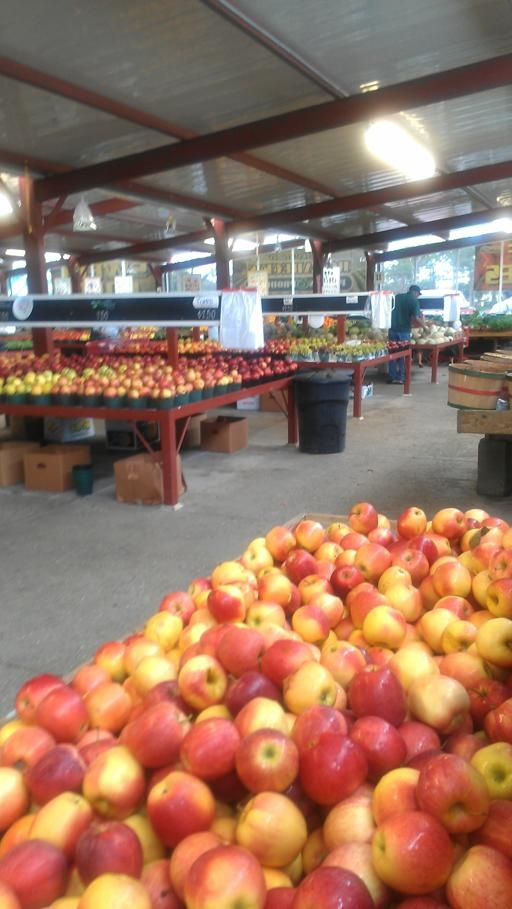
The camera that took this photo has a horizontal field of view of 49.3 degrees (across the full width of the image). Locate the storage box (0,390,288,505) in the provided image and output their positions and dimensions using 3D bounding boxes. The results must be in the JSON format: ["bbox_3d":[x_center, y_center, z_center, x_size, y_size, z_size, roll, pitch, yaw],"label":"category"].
[{"bbox_3d":[-0.700,-0.241,5.754,3.300,0.848,1.966,-10,15,-33],"label":"storage box"}]

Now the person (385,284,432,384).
[{"bbox_3d":[3.308,-2.712,12.458,0.913,2.167,0.994,9,18,12],"label":"person"}]

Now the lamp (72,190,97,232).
[{"bbox_3d":[-2.173,-3.071,7.024,0.215,0.468,0.923,-5,13,-17],"label":"lamp"}]
